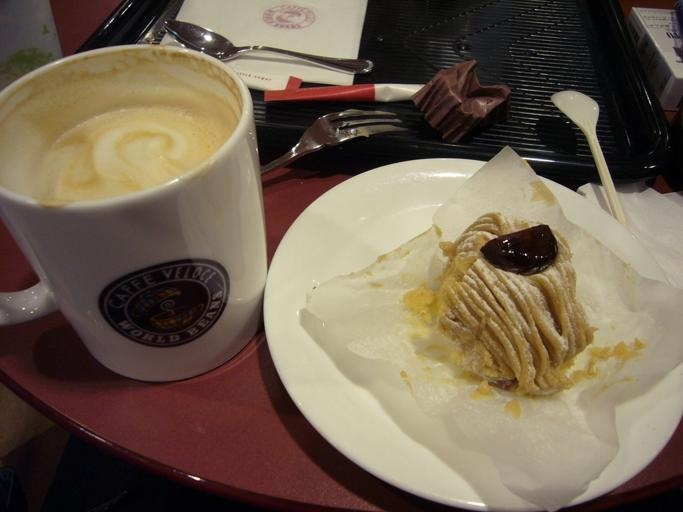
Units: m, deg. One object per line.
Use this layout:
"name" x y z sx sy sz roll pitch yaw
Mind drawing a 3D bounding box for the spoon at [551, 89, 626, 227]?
"spoon" 0.570 -0.229 1.322 0.082 0.044 0.393 7 58 -26

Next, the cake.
"cake" 0.302 0.108 1.003 0.255 0.156 0.326 1 80 -8
